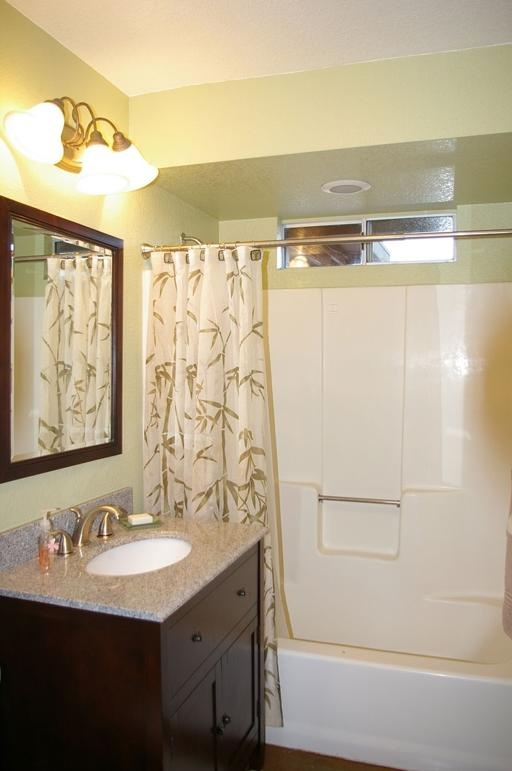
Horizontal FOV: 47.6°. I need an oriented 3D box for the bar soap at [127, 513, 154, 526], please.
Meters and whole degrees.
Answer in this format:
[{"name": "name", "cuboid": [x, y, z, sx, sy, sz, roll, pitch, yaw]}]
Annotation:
[{"name": "bar soap", "cuboid": [-0.379, 0.440, 1.916, 0.091, 0.028, 0.074, 1, 5, -26]}]
